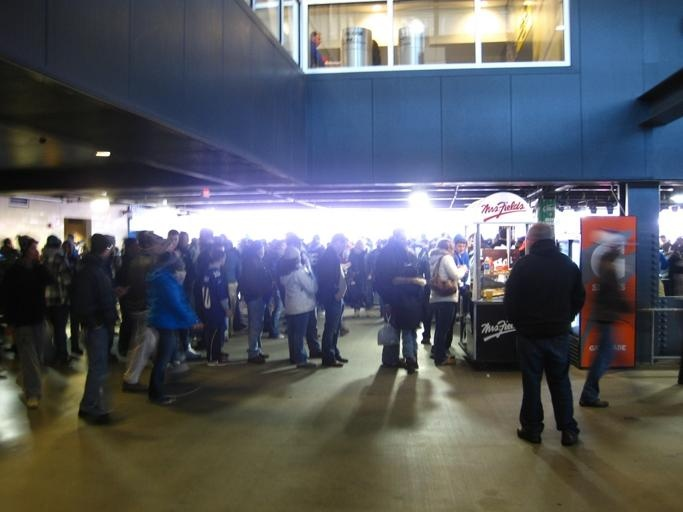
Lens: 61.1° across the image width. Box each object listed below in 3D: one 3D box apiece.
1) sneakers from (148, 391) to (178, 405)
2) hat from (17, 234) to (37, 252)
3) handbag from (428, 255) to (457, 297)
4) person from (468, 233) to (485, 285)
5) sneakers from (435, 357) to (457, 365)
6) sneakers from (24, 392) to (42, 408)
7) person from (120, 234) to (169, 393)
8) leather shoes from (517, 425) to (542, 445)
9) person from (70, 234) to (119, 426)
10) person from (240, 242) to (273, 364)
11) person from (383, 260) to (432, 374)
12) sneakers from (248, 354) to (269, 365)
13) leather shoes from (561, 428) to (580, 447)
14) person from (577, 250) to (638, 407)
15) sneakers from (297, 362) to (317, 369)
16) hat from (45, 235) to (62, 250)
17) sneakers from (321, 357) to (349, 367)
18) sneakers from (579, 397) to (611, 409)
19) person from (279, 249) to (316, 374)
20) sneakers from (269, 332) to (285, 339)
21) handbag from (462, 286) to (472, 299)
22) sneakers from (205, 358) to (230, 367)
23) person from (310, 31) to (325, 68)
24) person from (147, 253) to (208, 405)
[{"bbox_3d":[-2.531,1.995,8.153,0.280,0.128,0.155,0,1,-9],"label":"sneakers"},{"bbox_3d":[-4.728,-0.223,8.721,0.199,0.270,0.263,4,24,7],"label":"hat"},{"bbox_3d":[1.835,0.352,10.061,0.543,0.876,0.378,-2,-30,23],"label":"handbag"},{"bbox_3d":[2.401,0.066,10.338,0.136,1.044,0.164,20,-12,-27],"label":"person"},{"bbox_3d":[1.785,1.783,9.912,0.362,0.172,0.135,2,-4,-6],"label":"sneakers"},{"bbox_3d":[-4.341,1.997,8.125,0.211,0.191,0.440,-6,12,-30],"label":"sneakers"},{"bbox_3d":[-2.878,0.907,8.903,0.873,2.773,0.721,-4,15,-31],"label":"person"},{"bbox_3d":[2.273,2.141,6.994,0.282,0.156,0.204,3,11,19],"label":"leather shoes"},{"bbox_3d":[-3.285,0.933,7.692,0.557,2.359,0.838,-4,10,-22],"label":"person"},{"bbox_3d":[-1.533,0.843,10.382,0.579,2.099,0.971,-2,9,-9],"label":"person"},{"bbox_3d":[1.056,0.941,9.657,0.637,1.864,0.698,5,10,30],"label":"person"},{"bbox_3d":[-1.456,1.802,10.163,0.342,0.164,0.133,-4,-7,12],"label":"sneakers"},{"bbox_3d":[2.735,2.162,6.955,0.103,0.225,0.295,0,2,32],"label":"leather shoes"},{"bbox_3d":[3.643,0.995,7.960,0.431,2.139,0.780,7,11,38],"label":"person"},{"bbox_3d":[-0.583,1.828,9.721,0.304,0.135,0.118,-4,-6,9],"label":"sneakers"},{"bbox_3d":[-5.151,-0.251,10.350,0.198,0.235,0.246,1,3,1],"label":"hat"},{"bbox_3d":[-0.107,1.798,9.895,0.470,0.255,0.159,-3,1,1],"label":"sneakers"},{"bbox_3d":[3.450,2.023,7.914,0.382,0.184,0.151,-2,1,0],"label":"sneakers"},{"bbox_3d":[-0.733,0.849,9.823,0.606,2.027,0.592,-6,-2,19],"label":"person"},{"bbox_3d":[-1.357,1.697,12.342,0.340,0.150,0.118,-3,0,7],"label":"sneakers"},{"bbox_3d":[2.311,0.662,10.628,0.237,0.124,0.345,0,3,13],"label":"handbag"},{"bbox_3d":[-2.141,1.850,10.007,0.375,0.181,0.137,-3,1,7],"label":"sneakers"},{"bbox_3d":[-0.489,-4.207,11.764,0.299,0.764,0.461,-1,9,-3],"label":"person"},{"bbox_3d":[-2.400,0.994,8.125,0.662,2.083,0.386,-3,9,-16],"label":"person"}]
